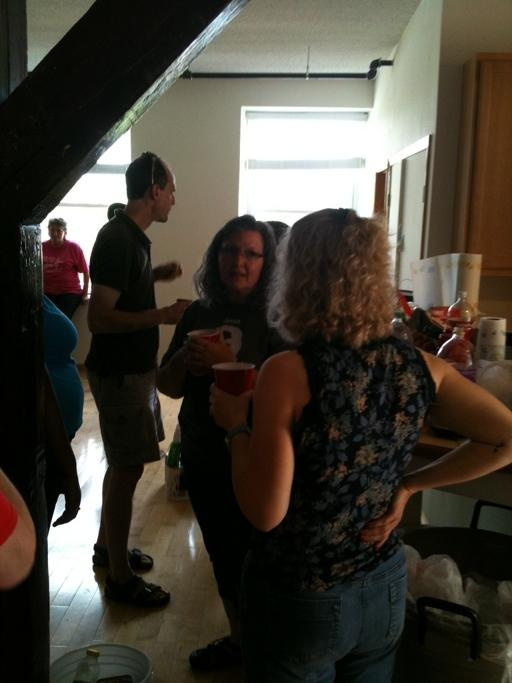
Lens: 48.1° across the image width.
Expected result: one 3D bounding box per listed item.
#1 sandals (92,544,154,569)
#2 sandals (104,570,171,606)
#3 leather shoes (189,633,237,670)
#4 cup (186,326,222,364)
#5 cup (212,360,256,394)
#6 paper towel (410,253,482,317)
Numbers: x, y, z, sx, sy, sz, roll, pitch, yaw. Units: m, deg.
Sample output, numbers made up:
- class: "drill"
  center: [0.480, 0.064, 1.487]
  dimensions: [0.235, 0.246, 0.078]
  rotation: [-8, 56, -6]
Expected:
- class: "sandals"
  center: [-0.527, 0.888, 2.359]
  dimensions: [0.258, 0.120, 0.102]
  rotation: [1, 4, 0]
- class: "sandals"
  center: [-0.432, 0.916, 2.089]
  dimensions: [0.202, 0.099, 0.110]
  rotation: [6, 12, -3]
- class: "leather shoes"
  center: [-0.122, 0.966, 1.812]
  dimensions: [0.180, 0.082, 0.072]
  rotation: [-1, 4, -8]
- class: "cup"
  center: [-0.129, 0.003, 1.426]
  dimensions: [0.080, 0.069, 0.081]
  rotation: [-5, 10, 1]
- class: "cup"
  center: [-0.035, 0.063, 1.103]
  dimensions: [0.061, 0.050, 0.060]
  rotation: [-1, 3, 0]
- class: "paper towel"
  center: [0.786, -0.212, 2.416]
  dimensions: [0.249, 0.260, 0.114]
  rotation: [-2, -23, 17]
